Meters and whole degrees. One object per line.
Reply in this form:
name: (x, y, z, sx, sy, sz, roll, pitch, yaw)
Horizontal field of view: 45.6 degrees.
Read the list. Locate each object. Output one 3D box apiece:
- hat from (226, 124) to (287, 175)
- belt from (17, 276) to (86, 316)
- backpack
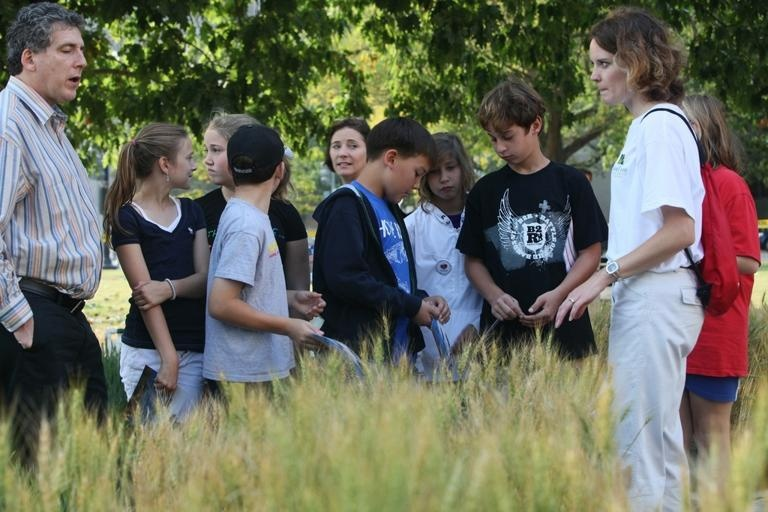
hat: (-0.751, -0.654, 5.401, 0.314, 0.266, 0.468, -1, 15, 7)
belt: (-1.879, 0.214, 5.168, 0.251, 0.076, 0.197, 23, -4, 19)
backpack: (1.743, -0.249, 5.108, 0.303, 1.099, 0.610, -12, -14, 4)
